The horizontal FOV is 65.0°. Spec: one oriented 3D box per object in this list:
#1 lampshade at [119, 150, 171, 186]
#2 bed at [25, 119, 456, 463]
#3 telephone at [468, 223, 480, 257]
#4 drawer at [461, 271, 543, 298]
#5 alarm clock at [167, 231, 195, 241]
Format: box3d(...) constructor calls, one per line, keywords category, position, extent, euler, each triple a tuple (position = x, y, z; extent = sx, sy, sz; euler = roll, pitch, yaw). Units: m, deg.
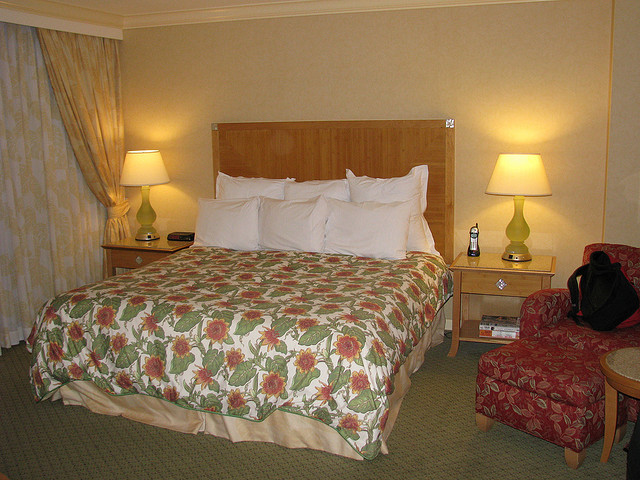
box3d(category="lampshade", position=(-1.851, -0.810, 5.307), extent=(0.398, 0.354, 0.397), euler=(-10, 16, -34))
box3d(category="bed", position=(-0.495, 0.064, 4.210), extent=(2.836, 2.338, 2.504), euler=(4, 7, 23))
box3d(category="telephone", position=(1.440, 0.008, 4.679), extent=(0.102, 0.287, 0.207), euler=(3, 7, 17))
box3d(category="drawer", position=(1.553, 0.384, 4.321), extent=(0.657, 0.209, 0.100), euler=(4, 7, 15))
box3d(category="alarm clock", position=(-1.521, -0.024, 5.447), extent=(0.314, 0.077, 0.136), euler=(2, 7, 0))
